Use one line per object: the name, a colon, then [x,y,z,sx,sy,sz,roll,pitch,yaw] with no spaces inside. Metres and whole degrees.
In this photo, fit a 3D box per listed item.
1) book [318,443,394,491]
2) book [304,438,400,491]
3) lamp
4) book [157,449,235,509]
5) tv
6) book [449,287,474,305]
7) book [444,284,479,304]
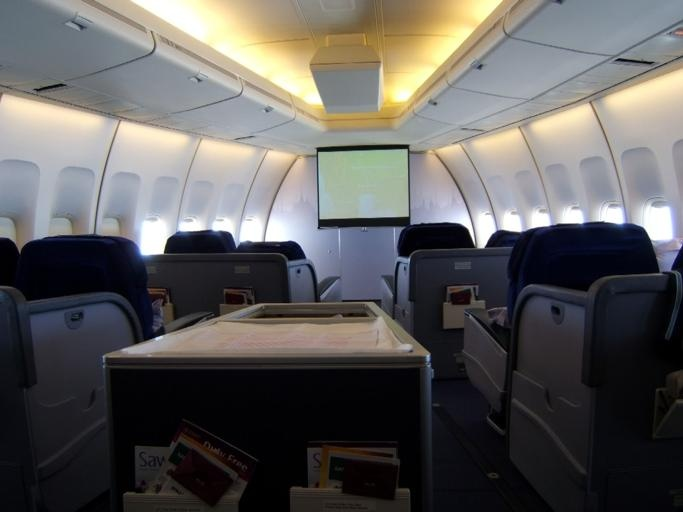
book: [0.065,0.831,2.013,0.242,0.167,0.057,2,-3,0]
book: [0.098,0.856,2.064,0.271,0.189,0.057,1,34,8]
lamp: [0.100,-2.343,6.510,0.818,0.558,1.377,-2,3,4]
book: [-0.564,0.856,2.024,0.245,0.182,0.074,33,-4,2]
tv: [0.504,-1.440,10.229,1.768,1.514,0.198,0,7,5]
book: [1.193,0.403,5.082,0.257,0.177,0.150,-1,-3,5]
book: [1.209,0.376,4.982,0.228,0.218,0.061,7,3,1]
